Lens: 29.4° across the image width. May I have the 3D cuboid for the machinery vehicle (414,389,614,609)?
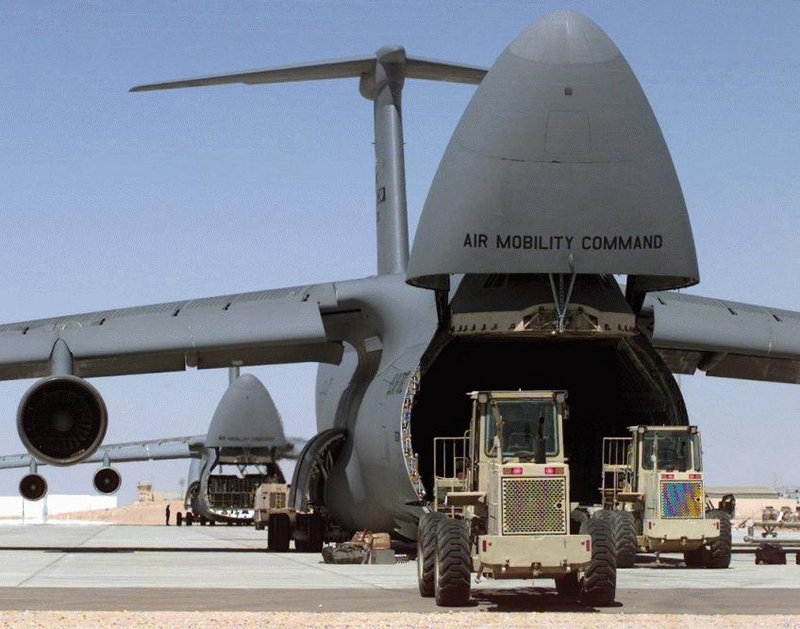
[{"bbox_3d":[1.539,2.635,22.004,2.573,3.182,2.826,2,-11,-5],"label":"machinery vehicle"}]

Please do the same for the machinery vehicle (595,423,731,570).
[{"bbox_3d":[4.622,3.157,26.613,2.176,2.566,2.348,-1,-11,8],"label":"machinery vehicle"}]
